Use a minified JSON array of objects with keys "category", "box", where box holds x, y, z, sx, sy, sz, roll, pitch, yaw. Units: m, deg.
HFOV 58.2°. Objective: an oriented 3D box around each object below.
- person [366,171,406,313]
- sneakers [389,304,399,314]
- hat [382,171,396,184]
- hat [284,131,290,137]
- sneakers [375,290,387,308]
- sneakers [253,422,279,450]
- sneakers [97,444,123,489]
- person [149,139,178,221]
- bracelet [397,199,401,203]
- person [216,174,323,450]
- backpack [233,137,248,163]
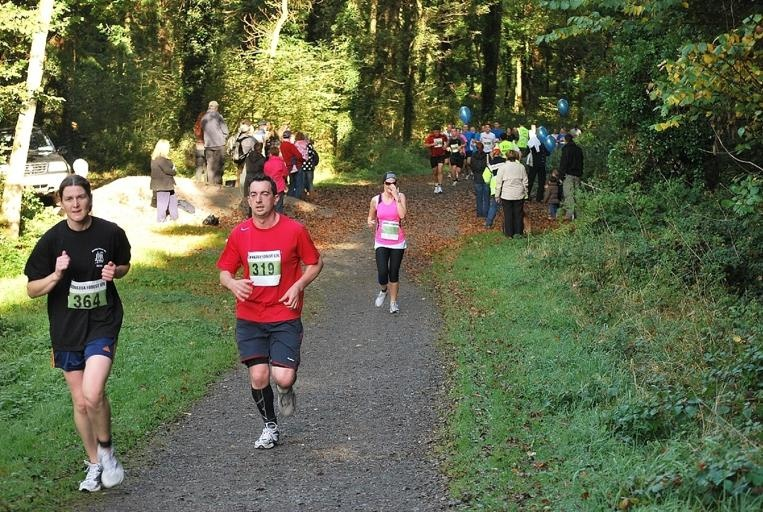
[{"category":"person","box":[0.113,-0.300,13.420,0.694,2.699,1.000,2,14,2]},{"category":"sneakers","box":[0.241,1.023,13.320,0.142,0.157,0.354,-1,-4,0]},{"category":"hat","box":[0.155,-1.486,12.891,0.167,0.206,0.224,-2,3,-1]},{"category":"hat","box":[-2.931,-3.766,21.277,0.154,0.207,0.195,9,-36,10]},{"category":"sneakers","box":[-0.018,0.865,13.634,0.140,0.443,0.188,18,-22,4]},{"category":"sneakers","box":[-1.424,2.242,8.628,0.196,0.296,0.417,-2,2,22]},{"category":"sneakers","box":[-3.090,2.384,7.777,0.196,0.567,0.215,-15,-26,-20]},{"category":"person","box":[-5.947,-1.978,18.652,0.680,2.350,1.220,-3,15,-18]},{"category":"bracelet","box":[0.327,-1.034,12.847,0.062,0.067,0.015,0,-4,0]},{"category":"person","box":[-1.358,0.713,8.428,1.175,3.352,0.688,0,14,-6]},{"category":"backpack","box":[-4.212,-3.182,20.770,0.395,0.926,1.136,-5,16,-24]}]
